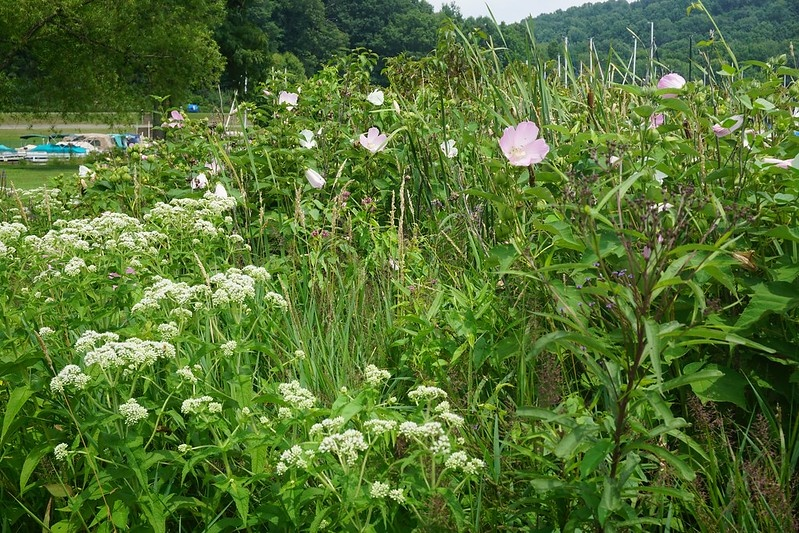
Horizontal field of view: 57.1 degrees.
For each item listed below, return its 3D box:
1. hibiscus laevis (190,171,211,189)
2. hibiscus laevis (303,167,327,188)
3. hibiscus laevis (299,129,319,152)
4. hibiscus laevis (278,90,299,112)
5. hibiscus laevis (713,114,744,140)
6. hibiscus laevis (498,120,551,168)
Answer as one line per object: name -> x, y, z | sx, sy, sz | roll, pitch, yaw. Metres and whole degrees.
hibiscus laevis -> -1.590, -0.663, 5.858 | 0.147, 0.178, 0.077 | -2, -17, -2
hibiscus laevis -> -0.630, -0.658, 5.505 | 0.115, 0.165, 0.069 | -56, 25, -14
hibiscus laevis -> -0.740, -1.046, 5.998 | 0.068, 0.176, 0.168 | -16, -25, 27
hibiscus laevis -> -0.962, -1.452, 6.379 | 0.161, 0.175, 0.200 | 7, 27, 3
hibiscus laevis -> 1.794, -0.770, 4.044 | 0.147, 0.133, 0.406 | -2, 13, 22
hibiscus laevis -> 0.635, -0.619, 3.764 | 0.203, 0.250, 0.157 | -3, 4, 8
